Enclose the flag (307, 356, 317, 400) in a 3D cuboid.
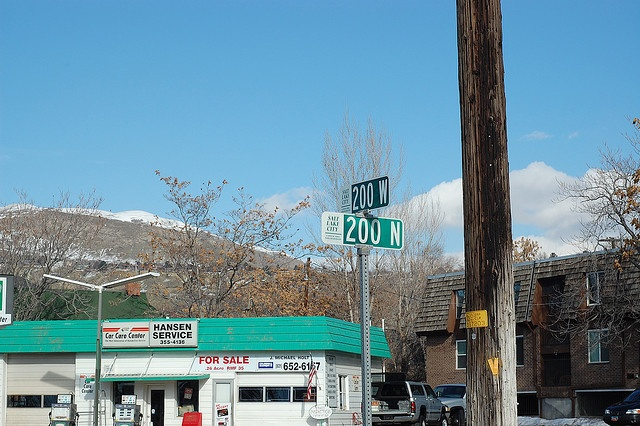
[{"bbox_3d":[-0.501,9.658,64.269,0.722,2.337,0.434,-17,-23,37],"label":"flag"}]
